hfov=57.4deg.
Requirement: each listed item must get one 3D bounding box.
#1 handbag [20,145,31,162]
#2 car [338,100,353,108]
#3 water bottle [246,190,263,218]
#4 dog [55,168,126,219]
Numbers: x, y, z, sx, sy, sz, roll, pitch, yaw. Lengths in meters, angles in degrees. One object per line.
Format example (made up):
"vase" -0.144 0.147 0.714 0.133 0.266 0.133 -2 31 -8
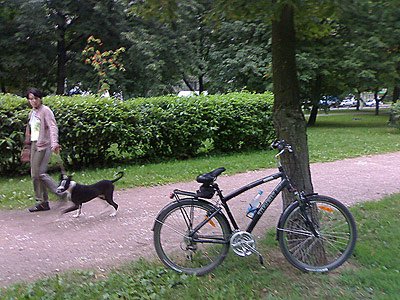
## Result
"handbag" -3.603 0.086 7.593 0.219 0.346 0.241 -6 15 -21
"car" 31.717 -9.943 79.048 1.873 1.338 4.136 9 16 34
"water bottle" 0.793 0.772 5.320 0.206 0.432 0.264 1 14 9
"dog" -2.228 0.817 7.227 1.202 0.950 0.888 -6 14 -20
